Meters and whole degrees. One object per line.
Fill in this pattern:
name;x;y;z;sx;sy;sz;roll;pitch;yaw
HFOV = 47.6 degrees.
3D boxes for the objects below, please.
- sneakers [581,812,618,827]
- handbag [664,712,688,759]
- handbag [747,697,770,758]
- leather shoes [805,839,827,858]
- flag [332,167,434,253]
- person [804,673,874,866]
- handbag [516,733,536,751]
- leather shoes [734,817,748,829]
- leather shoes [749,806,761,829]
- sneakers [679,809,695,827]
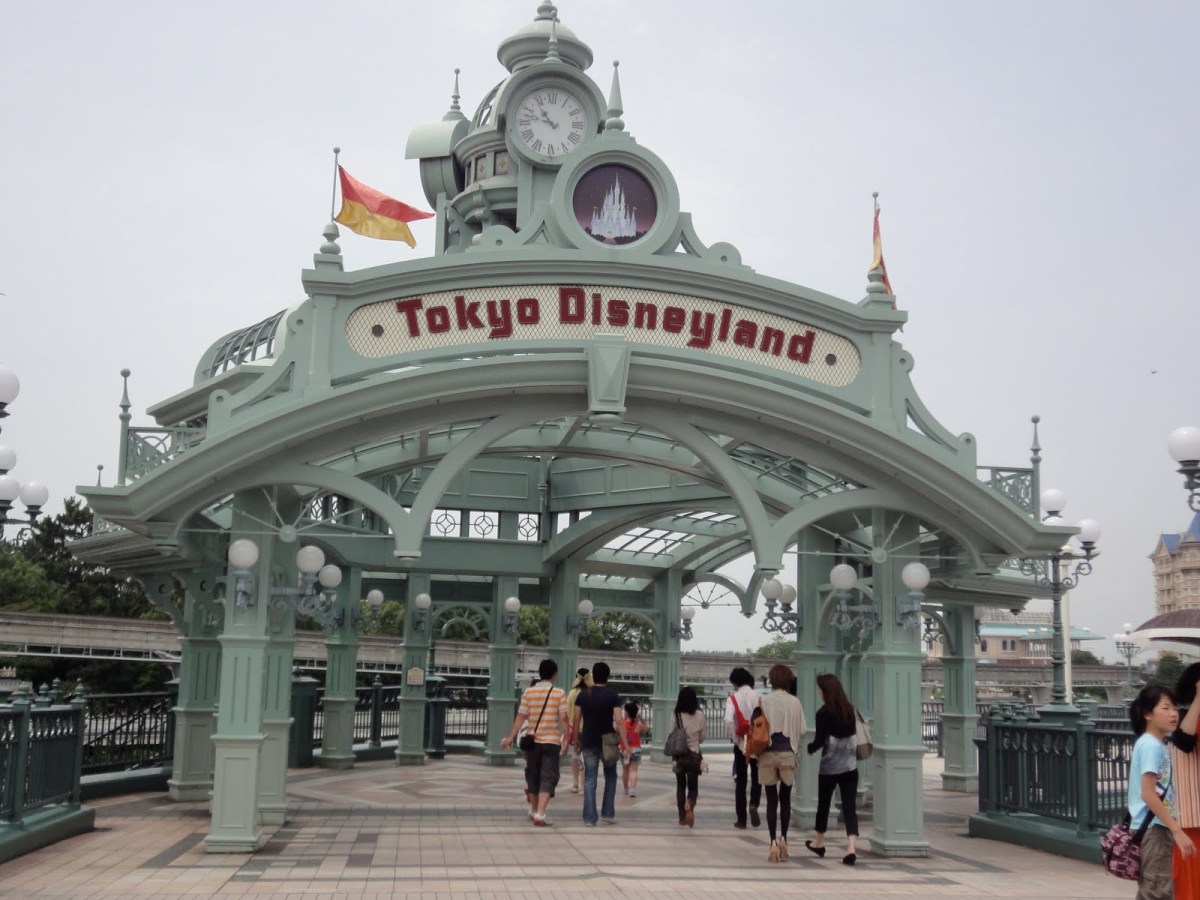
sneakers;-0.006;5.510;20.257;0.495;0.229;0.185;-1;-3;-18
handbag;1.127;4.287;20.444;0.274;0.647;0.493;-10;-18;42
handbag;2.161;3.807;18.556;0.317;0.691;0.383;0;-13;6
leather shoes;2.874;5.361;18.427;0.138;0.144;0.355;-3;29;-34
flag;-3.639;-3.817;21.761;0.882;1.175;1.927;-7;-16;32
person;3.201;4.250;18.307;0.812;2.512;1.393;0;-13;8
handbag;-1.066;4.178;19.434;0.264;0.221;0.408;16;-11;2
leather shoes;2.114;5.634;20.569;0.078;0.168;0.169;4;2;-22
leather shoes;2.340;5.590;20.737;0.103;0.290;0.109;-6;-3;9
sneakers;1.320;5.549;20.575;0.215;0.236;0.408;1;-13;3
